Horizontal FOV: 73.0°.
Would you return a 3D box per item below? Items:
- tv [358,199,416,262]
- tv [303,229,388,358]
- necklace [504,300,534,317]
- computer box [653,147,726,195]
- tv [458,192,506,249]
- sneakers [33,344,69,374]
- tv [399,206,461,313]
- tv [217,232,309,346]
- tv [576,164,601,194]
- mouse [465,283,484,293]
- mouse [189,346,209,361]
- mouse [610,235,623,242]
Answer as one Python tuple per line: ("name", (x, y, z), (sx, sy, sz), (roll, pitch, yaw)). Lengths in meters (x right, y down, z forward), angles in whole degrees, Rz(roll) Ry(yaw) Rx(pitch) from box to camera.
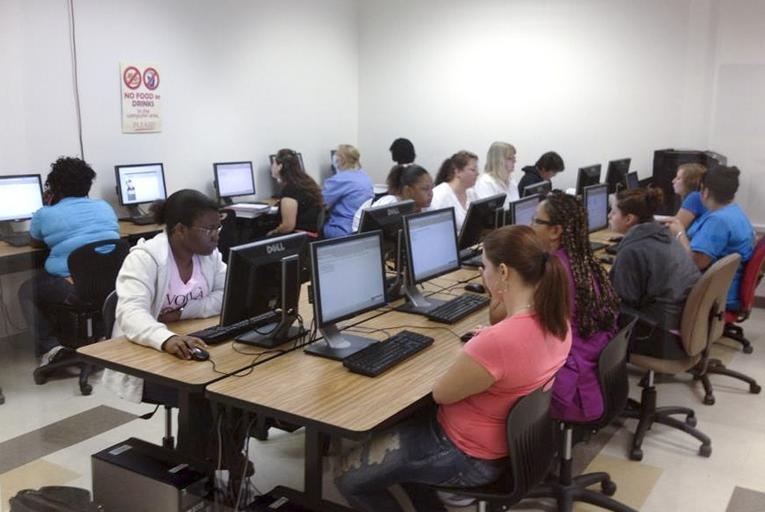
("tv", (0.030, -0.143, 3.157), (0.324, 0.305, 0.165), (-22, 30, -23))
("tv", (-0.191, 0.215, 2.666), (0.242, 0.582, 0.586), (4, 10, 35))
("necklace", (0.564, 0.224, 2.142), (0.090, 0.067, 0.110), (-2, 14, 1))
("computer box", (3.296, -0.927, 5.828), (0.507, 0.500, 0.565), (-2, 14, -2))
("tv", (0.702, -0.244, 3.708), (0.154, 0.340, 0.484), (13, 29, 39))
("sneakers", (-2.598, 0.811, 4.057), (0.120, 0.139, 0.349), (-3, 5, -33))
("tv", (0.284, 0.033, 3.231), (0.331, 0.613, 0.575), (6, 14, 37))
("tv", (-0.618, 0.197, 2.684), (0.251, 0.469, 0.494), (17, 23, 40))
("tv", (2.148, -0.792, 5.403), (0.454, 0.313, 0.117), (-22, 20, -39))
("mouse", (0.630, 0.220, 3.508), (0.104, 0.033, 0.059), (3, 9, 38))
("mouse", (-0.888, 0.479, 2.507), (0.082, 0.052, 0.061), (9, 18, 40))
("mouse", (2.246, -0.161, 4.983), (0.122, 0.033, 0.123), (1, 9, 21))
